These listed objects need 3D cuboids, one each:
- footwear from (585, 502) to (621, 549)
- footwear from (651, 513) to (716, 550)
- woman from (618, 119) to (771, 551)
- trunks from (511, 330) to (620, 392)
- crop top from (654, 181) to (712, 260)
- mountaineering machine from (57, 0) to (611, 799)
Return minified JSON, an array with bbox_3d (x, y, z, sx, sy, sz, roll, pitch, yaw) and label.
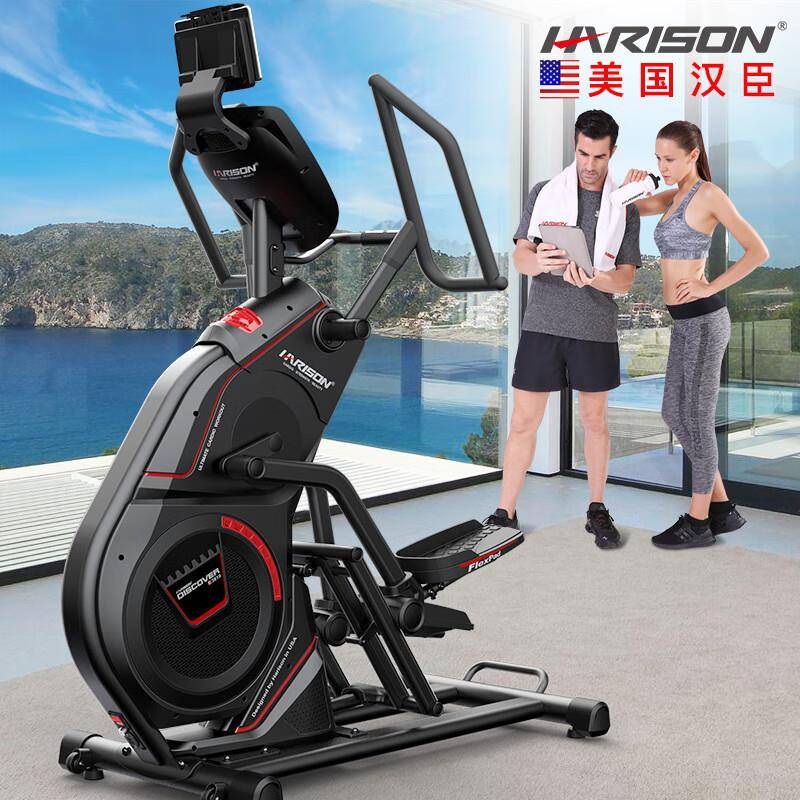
[{"bbox_3d":[0.933,0.586,3.060,0.105,0.096,0.246,-6,3,-4],"label":"footwear"},{"bbox_3d":[1.285,0.608,3.045,0.353,0.134,0.112,-3,-2,-4],"label":"footwear"},{"bbox_3d":[1.355,-0.267,2.927,0.481,1.860,0.285,-1,1,16],"label":"woman"},{"bbox_3d":[0.775,-0.175,3.107,0.640,0.349,0.303,3,6,6],"label":"trunks"},{"bbox_3d":[1.250,-0.781,2.941,0.228,0.336,0.138,-1,1,23],"label":"crop top"},{"bbox_3d":[-0.169,0.046,1.291,0.889,1.158,0.461,-1,1,-23],"label":"mountaineering machine"}]
